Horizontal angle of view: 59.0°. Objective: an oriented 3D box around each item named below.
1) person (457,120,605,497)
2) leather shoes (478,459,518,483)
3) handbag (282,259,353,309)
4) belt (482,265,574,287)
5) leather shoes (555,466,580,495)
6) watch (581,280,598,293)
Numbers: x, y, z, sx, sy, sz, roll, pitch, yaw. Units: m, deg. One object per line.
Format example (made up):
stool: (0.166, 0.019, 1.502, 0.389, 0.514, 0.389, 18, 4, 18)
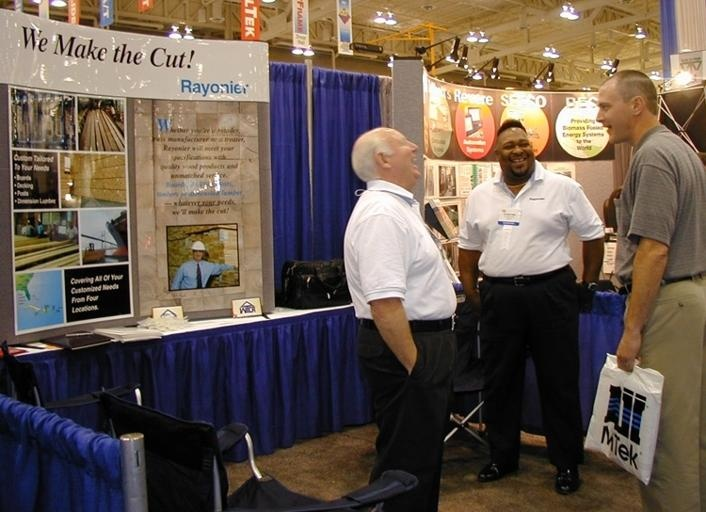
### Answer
person: (1.008, 0.277, 3.642, 0.823, 2.051, 0.506, 2, 9, 22)
leather shoes: (0.859, 1.280, 3.731, 0.265, 0.111, 0.097, 2, -5, -29)
handbag: (-0.241, 0.185, 4.267, 0.424, 0.331, 0.297, 1, -1, -27)
belt: (1.012, 0.111, 3.603, 0.527, 0.118, 0.174, 1, 9, 14)
leather shoes: (1.234, 1.266, 3.561, 0.141, 0.111, 0.201, 2, 9, 20)
watch: (1.461, 0.184, 3.830, 0.082, 0.058, 0.092, 2, 1, 11)
